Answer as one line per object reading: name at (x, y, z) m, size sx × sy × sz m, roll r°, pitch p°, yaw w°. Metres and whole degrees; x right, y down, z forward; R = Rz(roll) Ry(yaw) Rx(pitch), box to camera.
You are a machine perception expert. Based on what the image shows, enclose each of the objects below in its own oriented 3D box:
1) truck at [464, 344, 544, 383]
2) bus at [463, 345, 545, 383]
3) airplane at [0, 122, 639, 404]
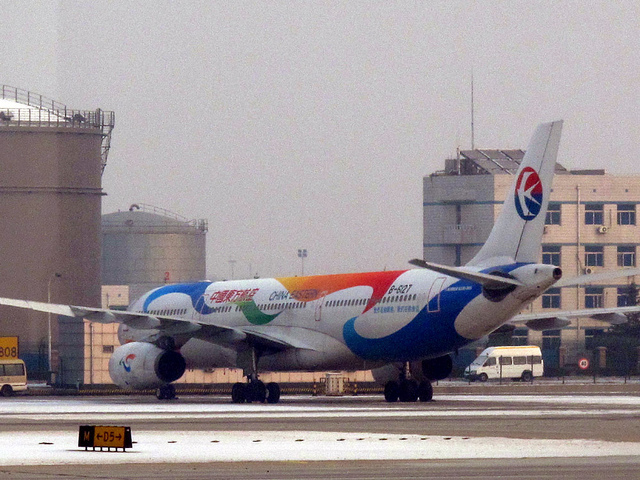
truck at (11.056, 7.675, 99.633) m, size 4.656 × 1.943 × 2.040 m, roll 1°, pitch -5°, yaw -13°
bus at (11.043, 7.768, 99.500) m, size 4.399 × 1.893 × 2.059 m, roll 1°, pitch -4°, yaw -11°
airplane at (0.771, 1.929, 68.303) m, size 20.453 × 9.922 × 26.868 m, roll -2°, pitch -1°, yaw -10°
